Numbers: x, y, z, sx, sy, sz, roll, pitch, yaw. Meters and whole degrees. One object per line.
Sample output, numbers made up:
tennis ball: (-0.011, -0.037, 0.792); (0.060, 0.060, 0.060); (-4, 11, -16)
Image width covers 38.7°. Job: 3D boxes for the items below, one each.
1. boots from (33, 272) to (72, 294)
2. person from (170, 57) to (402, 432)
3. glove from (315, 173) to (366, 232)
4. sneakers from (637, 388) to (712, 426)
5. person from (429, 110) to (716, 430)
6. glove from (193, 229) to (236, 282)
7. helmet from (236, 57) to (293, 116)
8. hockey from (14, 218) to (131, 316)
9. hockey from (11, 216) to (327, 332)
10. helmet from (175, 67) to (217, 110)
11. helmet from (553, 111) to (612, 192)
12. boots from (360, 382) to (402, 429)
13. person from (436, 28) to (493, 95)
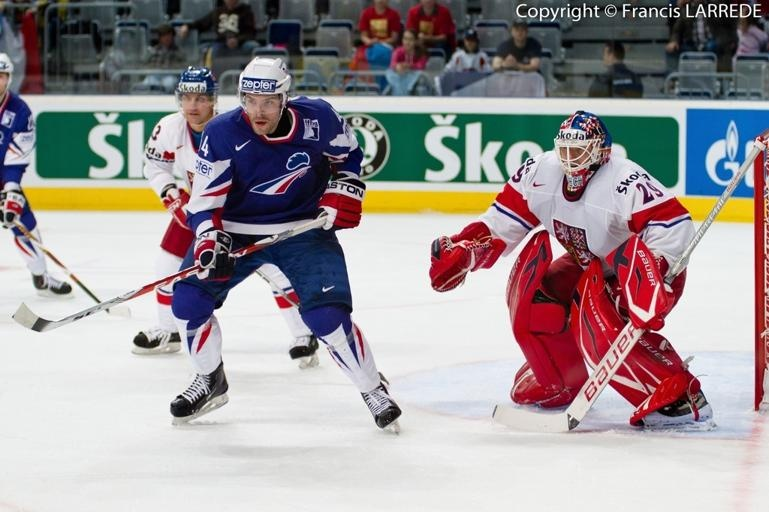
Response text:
boots: (-2.392, 0.188, 7.900); (0.268, 0.146, 0.121); (-1, 26, -26)
person: (-0.521, -0.047, 5.686); (1.323, 1.838, 1.037); (0, 4, 5)
glove: (-0.214, -0.276, 5.683); (0.226, 0.205, 0.284); (2, 46, 6)
sneakers: (1.481, 0.762, 5.700); (0.408, 0.132, 0.292); (-10, 11, 6)
person: (1.030, 0.102, 5.878); (1.177, 1.575, 1.479); (-7, 10, -31)
glove: (-0.851, -0.008, 5.522); (0.200, 0.253, 0.116); (13, 50, 15)
helmet: (-0.616, -0.880, 5.597); (0.259, 0.258, 0.288); (5, 26, -1)
hockey: (-2.346, 0.104, 8.218); (0.976, 0.190, 0.110); (43, 27, 8)
hockey: (-1.351, 0.143, 6.801); (1.711, 0.132, 0.184); (-23, 34, 5)
helmet: (-1.117, -1.031, 6.626); (0.281, 0.251, 0.298); (4, 12, 9)
helmet: (1.047, -0.573, 5.793); (0.288, 0.371, 0.384); (5, 17, 39)
boots: (-0.007, 0.794, 5.614); (0.112, 0.129, 0.318); (-36, 33, 9)
person: (0.803, -1.837, 10.710); (0.572, 0.660, 0.388); (2, 12, -5)
